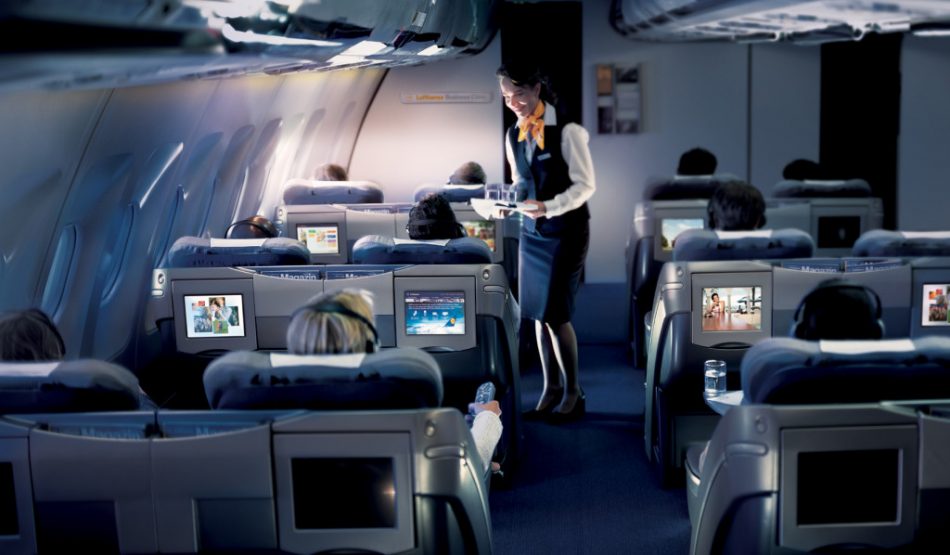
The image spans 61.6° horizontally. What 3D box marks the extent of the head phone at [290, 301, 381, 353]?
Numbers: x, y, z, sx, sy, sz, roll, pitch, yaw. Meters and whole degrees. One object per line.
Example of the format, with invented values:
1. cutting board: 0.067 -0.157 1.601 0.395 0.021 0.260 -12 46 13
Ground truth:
1. head phone: -0.688 0.226 3.972 0.273 0.308 0.339 -9 19 1

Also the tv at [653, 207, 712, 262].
1. tv: 1.638 -0.367 6.261 0.566 0.492 0.055 0 3 -2

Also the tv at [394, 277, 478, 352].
1. tv: -0.231 0.209 4.982 0.512 0.414 0.170 0 11 2
